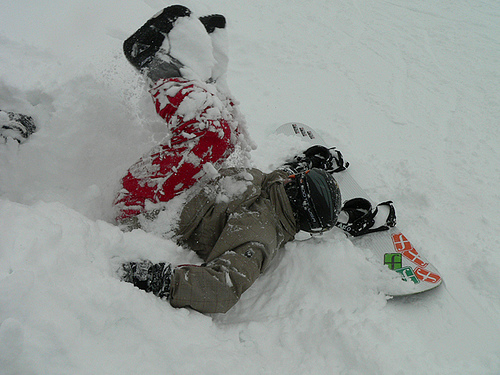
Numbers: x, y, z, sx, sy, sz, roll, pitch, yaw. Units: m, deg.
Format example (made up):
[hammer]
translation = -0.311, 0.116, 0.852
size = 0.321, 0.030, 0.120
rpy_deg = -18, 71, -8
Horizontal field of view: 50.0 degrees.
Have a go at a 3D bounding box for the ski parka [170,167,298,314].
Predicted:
[ski parka]
translation = -0.134, 0.558, 4.719
size = 1.058, 0.505, 1.534
rpy_deg = 0, 46, 1
